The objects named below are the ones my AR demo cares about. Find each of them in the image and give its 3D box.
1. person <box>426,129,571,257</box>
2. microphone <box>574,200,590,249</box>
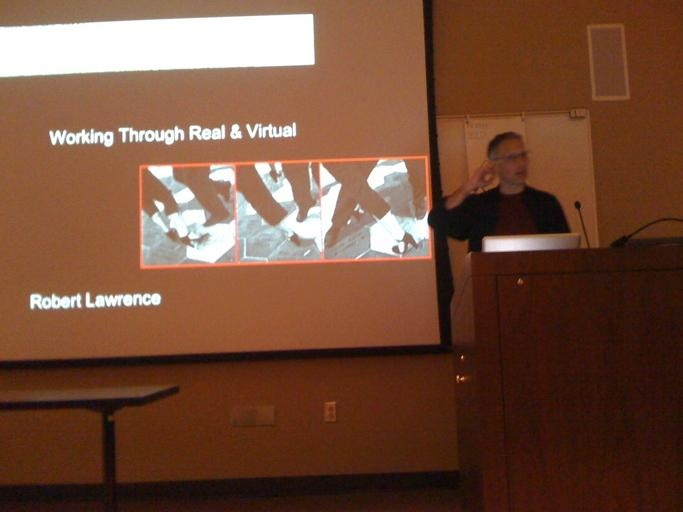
[{"bbox_3d":[0.795,-0.302,3.808,0.533,0.893,0.310,-1,-21,3],"label":"person"},{"bbox_3d":[1.231,-0.157,3.874,0.038,0.265,0.029,-12,-13,15],"label":"microphone"}]
